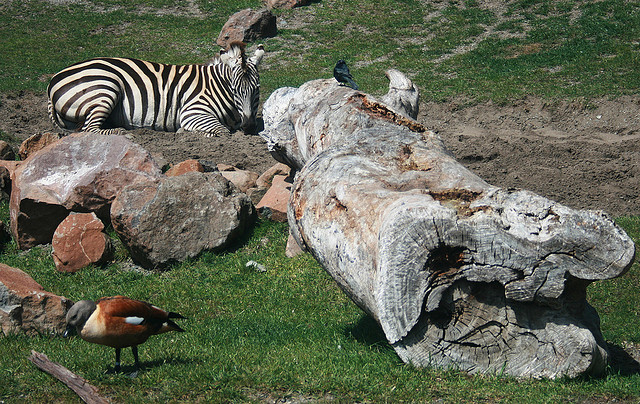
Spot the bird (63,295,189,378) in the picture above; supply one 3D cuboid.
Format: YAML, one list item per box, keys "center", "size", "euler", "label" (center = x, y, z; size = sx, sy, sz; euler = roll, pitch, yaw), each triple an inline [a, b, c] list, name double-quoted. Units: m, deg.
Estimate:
- center: [-4.699, 3.063, 24.652]
  size: [2.413, 1.547, 0.952]
  euler: [-1, 32, -5]
  label: "bird"

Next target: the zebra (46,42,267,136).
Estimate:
- center: [-5.051, -3.337, 32.475]
  size: [6.082, 2.610, 2.540]
  euler: [-6, 33, -12]
  label: "zebra"

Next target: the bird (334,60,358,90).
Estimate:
- center: [0.651, -3.341, 28.734]
  size: [0.557, 0.758, 1.181]
  euler: [0, 32, -2]
  label: "bird"
